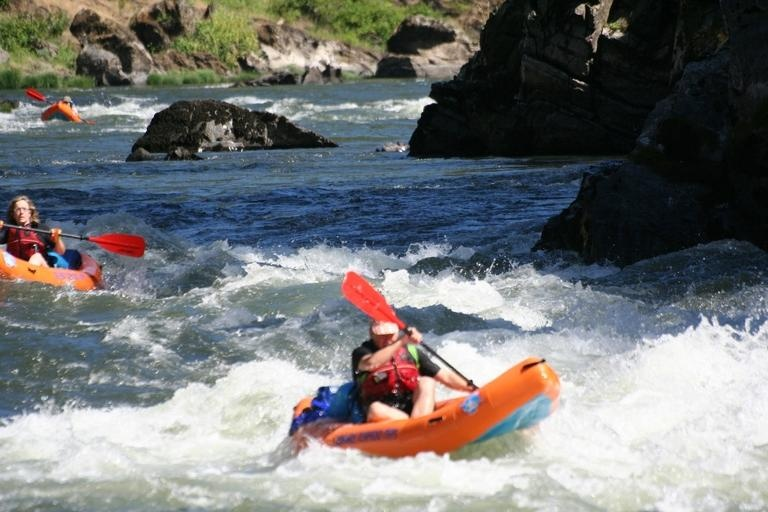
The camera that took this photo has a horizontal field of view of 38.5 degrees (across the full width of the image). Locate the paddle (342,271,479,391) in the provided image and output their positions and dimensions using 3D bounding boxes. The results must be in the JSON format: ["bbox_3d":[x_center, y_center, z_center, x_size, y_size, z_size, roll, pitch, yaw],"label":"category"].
[{"bbox_3d":[0.367,1.125,15.603,2.531,0.371,0.165,41,-1,30],"label":"paddle"}]

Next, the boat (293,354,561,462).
[{"bbox_3d":[0.809,2.108,14.119,2.756,0.701,1.288,-20,-8,19],"label":"boat"}]
